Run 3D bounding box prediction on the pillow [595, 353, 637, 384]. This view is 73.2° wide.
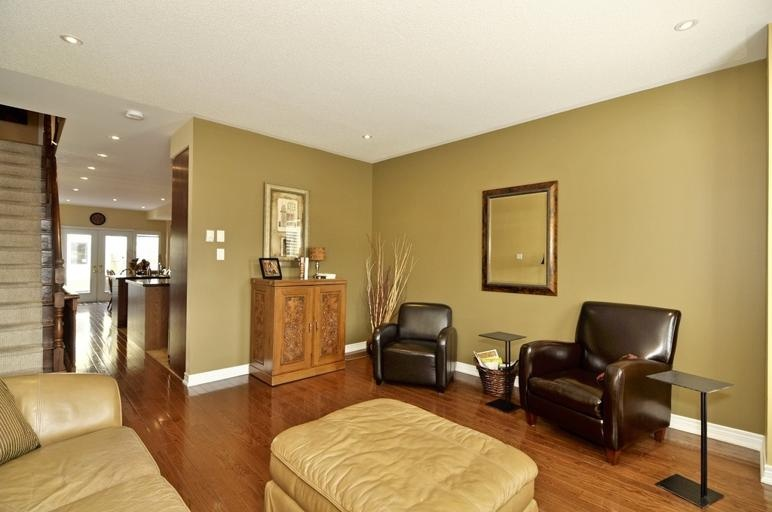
[{"bbox_3d":[2.301,1.123,5.143,0.410,0.271,0.577,0,-2,19],"label":"pillow"}]

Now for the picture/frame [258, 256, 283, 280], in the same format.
[{"bbox_3d":[-1.525,0.150,6.838,0.021,0.320,0.314,-13,-10,35],"label":"picture/frame"}]

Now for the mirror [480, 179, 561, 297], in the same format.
[{"bbox_3d":[1.653,-0.206,6.454,0.982,1.168,0.090,0,0,41],"label":"mirror"}]

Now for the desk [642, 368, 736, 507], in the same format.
[{"bbox_3d":[2.879,1.623,4.782,0.894,1.243,0.521,1,0,-37],"label":"desk"}]
